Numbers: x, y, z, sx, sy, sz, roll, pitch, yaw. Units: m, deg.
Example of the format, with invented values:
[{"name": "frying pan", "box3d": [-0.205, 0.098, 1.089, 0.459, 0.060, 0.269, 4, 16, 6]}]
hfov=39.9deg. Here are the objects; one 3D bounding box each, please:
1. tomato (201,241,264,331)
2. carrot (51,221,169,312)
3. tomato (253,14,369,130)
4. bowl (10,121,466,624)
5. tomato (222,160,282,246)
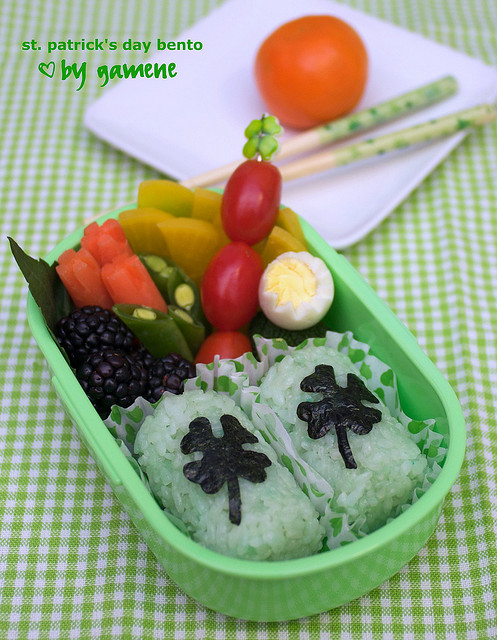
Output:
[{"name": "tomato", "box3d": [-0.022, -0.047, 0.910, 0.078, 0.088, 0.106, 5, 60, -4]}, {"name": "carrot", "box3d": [-0.182, -0.066, 0.903, 0.072, 0.120, 0.075, -45, 30, -12]}, {"name": "tomato", "box3d": [0.110, -0.441, 1.282, 0.244, 0.177, 0.176, -9, 92, 4]}, {"name": "bowl", "box3d": [-0.051, 0.089, 1.040, 0.546, 0.259, 0.708, -25, 54, -16]}, {"name": "tomato", "box3d": [0.004, -0.154, 0.908, 0.077, 0.088, 0.097, 9, 60, -2]}]
